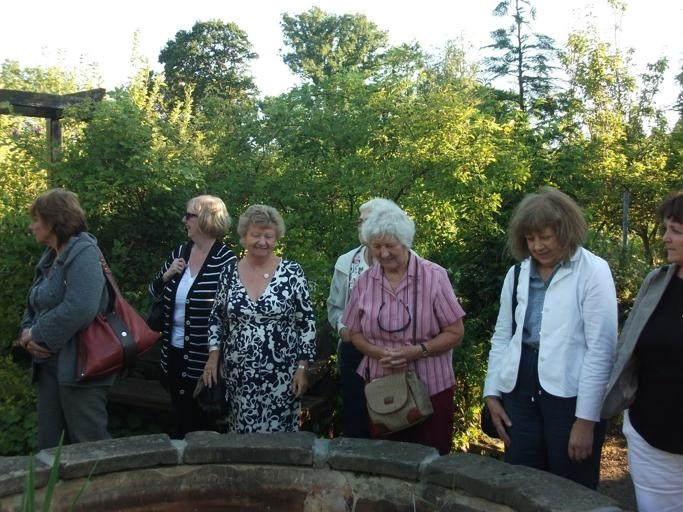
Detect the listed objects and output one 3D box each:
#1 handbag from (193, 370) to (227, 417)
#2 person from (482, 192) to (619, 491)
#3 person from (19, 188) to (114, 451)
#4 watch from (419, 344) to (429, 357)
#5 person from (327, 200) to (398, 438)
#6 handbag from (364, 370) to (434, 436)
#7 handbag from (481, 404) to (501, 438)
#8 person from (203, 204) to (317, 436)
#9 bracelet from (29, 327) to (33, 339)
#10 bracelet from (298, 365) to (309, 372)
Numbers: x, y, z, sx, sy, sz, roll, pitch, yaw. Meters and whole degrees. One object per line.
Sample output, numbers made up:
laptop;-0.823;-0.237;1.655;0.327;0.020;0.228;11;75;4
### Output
handbag;-0.946;1.008;4.642;0.183;0.315;0.242;-3;7;-20
person;1.265;0.476;3.871;0.739;1.780;0.330;6;6;34
person;-1.952;0.453;4.523;0.760;1.836;0.423;5;6;25
watch;0.531;0.607;4.094;0.063;0.086;0.053;3;5;6
person;0.247;0.754;4.886;0.690;2.322;0.682;0;11;1
handbag;0.343;0.926;4.073;0.373;0.344;0.214;-22;-16;21
handbag;0.945;1.075;4.158;0.144;0.182;0.201;0;9;6
person;-0.595;0.677;4.541;0.743;2.013;0.653;1;11;2
bracelet;-2.163;0.521;4.419;0.010;0.045;0.046;5;-41;-13
bracelet;-0.274;0.782;4.446;0.063;0.037;0.034;2;5;-11
